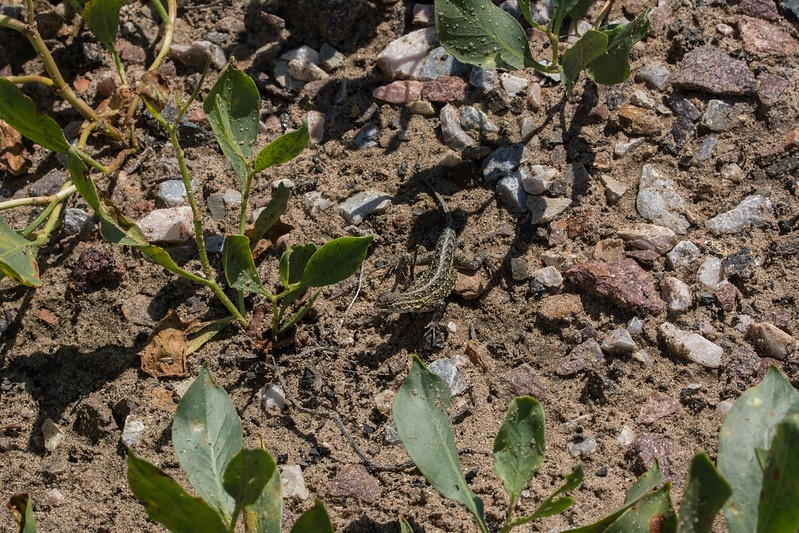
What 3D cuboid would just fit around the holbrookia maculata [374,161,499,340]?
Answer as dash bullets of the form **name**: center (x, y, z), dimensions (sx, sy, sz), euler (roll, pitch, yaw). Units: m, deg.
- **holbrookia maculata**: center (0.287, -0.007, 5.582), dimensions (0.700, 0.316, 1.213), euler (24, 70, 18)
